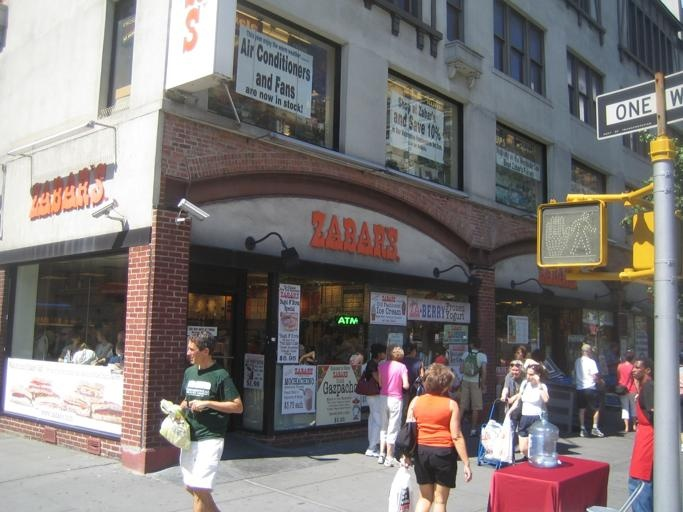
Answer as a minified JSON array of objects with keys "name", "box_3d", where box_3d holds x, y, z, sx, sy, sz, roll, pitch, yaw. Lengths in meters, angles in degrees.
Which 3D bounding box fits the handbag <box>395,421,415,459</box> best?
[{"name":"handbag","box_3d":[0.867,2.439,8.715,0.235,0.462,0.308,7,-11,-30]}]

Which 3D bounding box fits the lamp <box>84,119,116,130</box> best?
[{"name":"lamp","box_3d":[-4.778,-2.540,12.872,0.346,0.109,0.351,2,-1,38]}]

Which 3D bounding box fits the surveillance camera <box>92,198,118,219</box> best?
[{"name":"surveillance camera","box_3d":[-4.431,-0.891,12.346,0.428,0.398,0.365,5,-11,-23]}]

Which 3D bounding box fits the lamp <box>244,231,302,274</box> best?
[{"name":"lamp","box_3d":[-1.328,-0.122,13.348,1.273,0.735,0.584,6,-11,-26]}]

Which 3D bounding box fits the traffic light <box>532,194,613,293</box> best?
[{"name":"traffic light","box_3d":[2.640,-0.235,7.529,0.729,0.746,0.293,-2,-9,16]}]

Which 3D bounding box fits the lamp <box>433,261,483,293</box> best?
[{"name":"lamp","box_3d":[3.129,0.516,17.401,0.411,0.651,1.806,-7,-14,42]}]

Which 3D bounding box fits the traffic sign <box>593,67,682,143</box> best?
[{"name":"traffic sign","box_3d":[3.410,-1.691,7.518,0.968,0.573,0.202,-7,-12,40]}]
